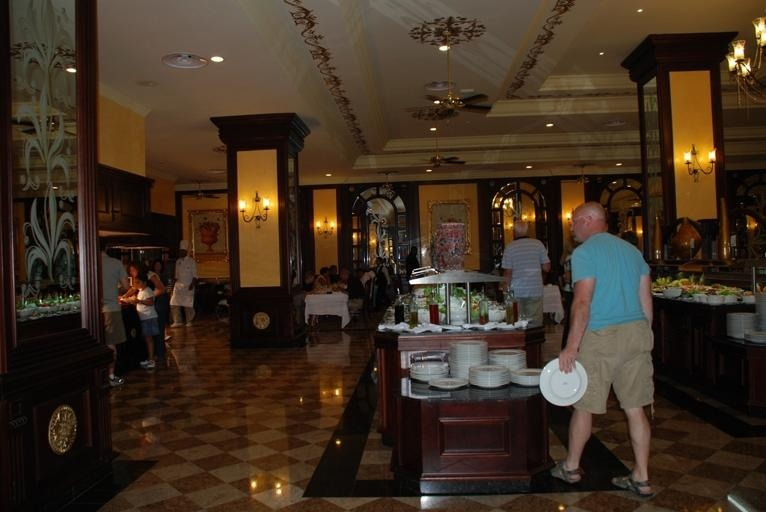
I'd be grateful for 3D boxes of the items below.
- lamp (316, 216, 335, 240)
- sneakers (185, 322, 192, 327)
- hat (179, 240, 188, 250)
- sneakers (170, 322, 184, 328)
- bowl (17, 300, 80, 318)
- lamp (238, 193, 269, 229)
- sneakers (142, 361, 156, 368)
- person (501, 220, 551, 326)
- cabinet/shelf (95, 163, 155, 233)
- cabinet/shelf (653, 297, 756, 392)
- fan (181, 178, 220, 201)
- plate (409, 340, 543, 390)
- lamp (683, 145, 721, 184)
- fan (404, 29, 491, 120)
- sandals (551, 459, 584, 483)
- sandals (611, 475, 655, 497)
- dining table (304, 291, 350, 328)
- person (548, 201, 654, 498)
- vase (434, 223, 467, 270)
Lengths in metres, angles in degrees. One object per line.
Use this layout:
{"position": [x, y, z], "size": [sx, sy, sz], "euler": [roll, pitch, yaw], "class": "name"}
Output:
{"position": [-1.827, -0.889, 17.624], "size": [0.802, 0.772, 0.248], "euler": [0, -1, 0], "class": "lamp"}
{"position": [-4.849, 1.741, 13.854], "size": [0.122, 0.071, 0.119], "euler": [3, -6, -39], "class": "sneakers"}
{"position": [-4.915, -0.251, 13.631], "size": [0.309, 0.221, 0.297], "euler": [-1, -1, 4], "class": "hat"}
{"position": [-5.220, 1.748, 13.898], "size": [0.392, 0.157, 0.127], "euler": [3, 0, 8], "class": "sneakers"}
{"position": [-2.799, 0.453, 4.638], "size": [0.061, 0.105, 0.616], "euler": [-3, -1, 17], "class": "bowl"}
{"position": [-2.473, -0.825, 10.538], "size": [0.715, 0.728, 0.292], "euler": [0, -7, 2], "class": "lamp"}
{"position": [-3.746, 1.753, 8.841], "size": [0.182, 0.109, 0.091], "euler": [4, -3, 5], "class": "sneakers"}
{"position": [1.889, 0.367, 7.499], "size": [0.672, 1.681, 0.526], "euler": [-5, 20, -1], "class": "person"}
{"position": [-4.246, -0.880, 8.996], "size": [0.463, 1.055, 1.418], "euler": [-2, 3, -4], "class": "cabinet/shelf"}
{"position": [4.088, 0.974, 6.910], "size": [0.908, 1.041, 1.538], "euler": [1, -1, -2], "class": "cabinet/shelf"}
{"position": [-5.856, -2.100, 17.331], "size": [0.946, 0.360, 0.811], "euler": [1, 12, 4], "class": "fan"}
{"position": [0.783, 0.928, 4.931], "size": [1.089, 0.338, 0.747], "euler": [-2, 3, 1], "class": "plate"}
{"position": [4.924, -1.385, 8.541], "size": [0.623, 0.677, 0.366], "euler": [0, -4, -3], "class": "lamp"}
{"position": [1.075, -2.953, 9.287], "size": [1.414, 1.403, 1.373], "euler": [6, 12, 33], "class": "fan"}
{"position": [1.534, 1.819, 4.630], "size": [0.130, 0.125, 0.267], "euler": [-2, 7, -14], "class": "sandals"}
{"position": [2.017, 1.861, 4.498], "size": [0.136, 0.122, 0.301], "euler": [2, 7, -43], "class": "sandals"}
{"position": [-1.217, 1.118, 11.904], "size": [0.830, 0.493, 0.802], "euler": [0, 3, -6], "class": "dining table"}
{"position": [1.798, 0.745, 4.482], "size": [0.856, 2.361, 0.461], "euler": [-2, 2, 6], "class": "person"}
{"position": [0.693, -0.091, 5.772], "size": [0.320, 0.498, 0.359], "euler": [-2, 3, 4], "class": "vase"}
